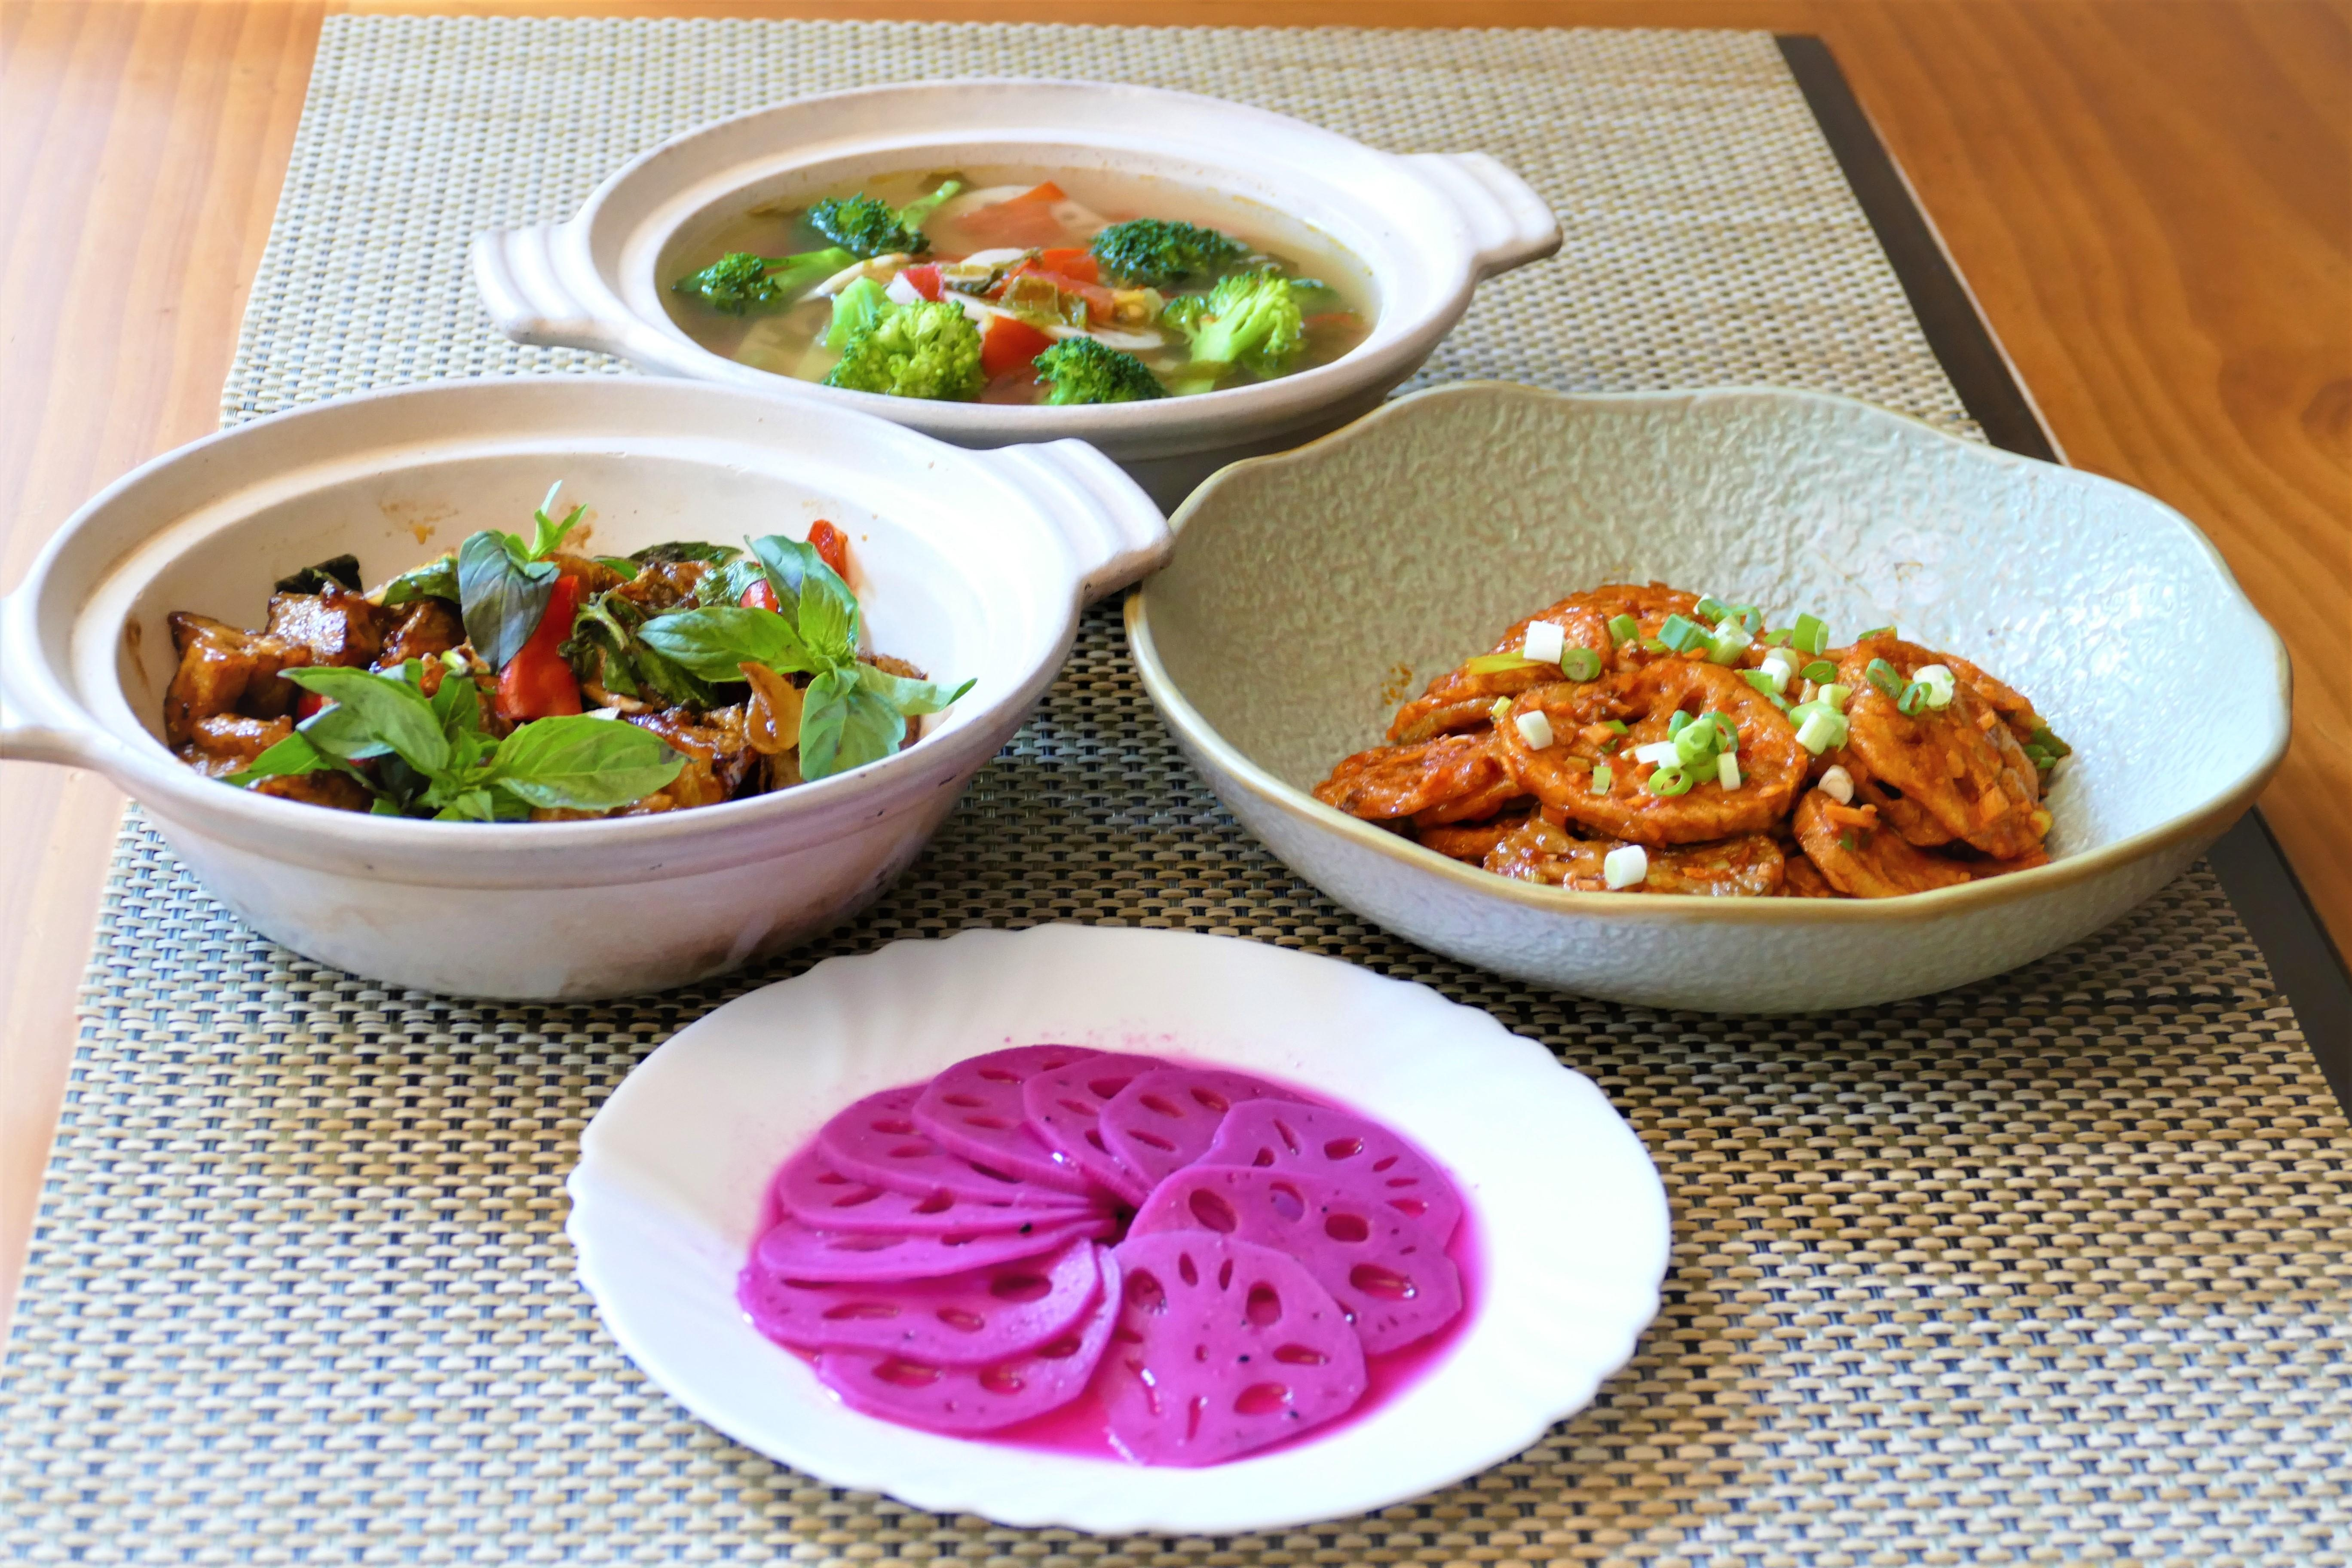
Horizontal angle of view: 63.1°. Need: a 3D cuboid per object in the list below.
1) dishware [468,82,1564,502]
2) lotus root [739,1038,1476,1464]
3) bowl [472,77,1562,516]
[{"bbox_3d":[-0.188,-0.585,2.321,0.897,0.273,0.825,-14,29,-27],"label":"dishware"},{"bbox_3d":[-0.053,0.368,1.560,0.573,0.109,0.358,12,57,-2],"label":"lotus root"},{"bbox_3d":[-0.189,-0.577,2.313,0.927,0.293,0.860,0,25,0],"label":"bowl"}]
